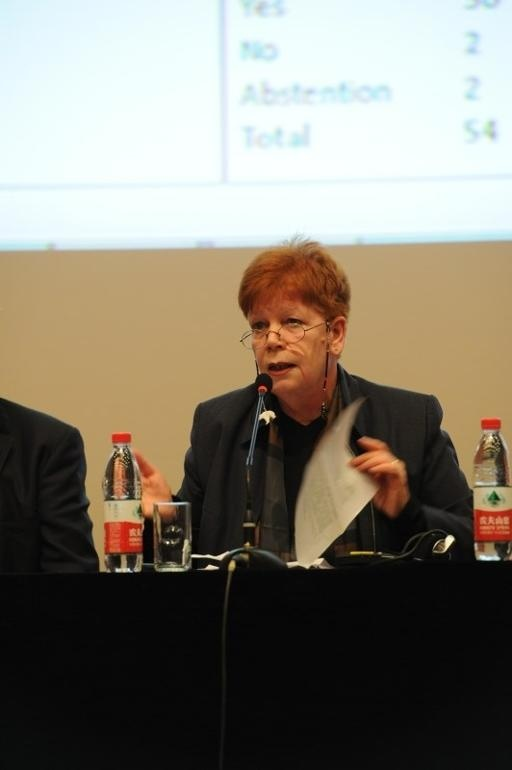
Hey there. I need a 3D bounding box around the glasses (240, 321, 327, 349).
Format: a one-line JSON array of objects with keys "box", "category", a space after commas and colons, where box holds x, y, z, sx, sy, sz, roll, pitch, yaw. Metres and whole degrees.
[{"box": [0.069, -0.120, 1.723, 0.205, 0.057, 0.067, -1, -2, 0], "category": "glasses"}]

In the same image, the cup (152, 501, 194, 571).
[{"box": [-0.120, 0.216, 1.057, 0.050, 0.092, 0.040, -1, -2, -12], "category": "cup"}]
